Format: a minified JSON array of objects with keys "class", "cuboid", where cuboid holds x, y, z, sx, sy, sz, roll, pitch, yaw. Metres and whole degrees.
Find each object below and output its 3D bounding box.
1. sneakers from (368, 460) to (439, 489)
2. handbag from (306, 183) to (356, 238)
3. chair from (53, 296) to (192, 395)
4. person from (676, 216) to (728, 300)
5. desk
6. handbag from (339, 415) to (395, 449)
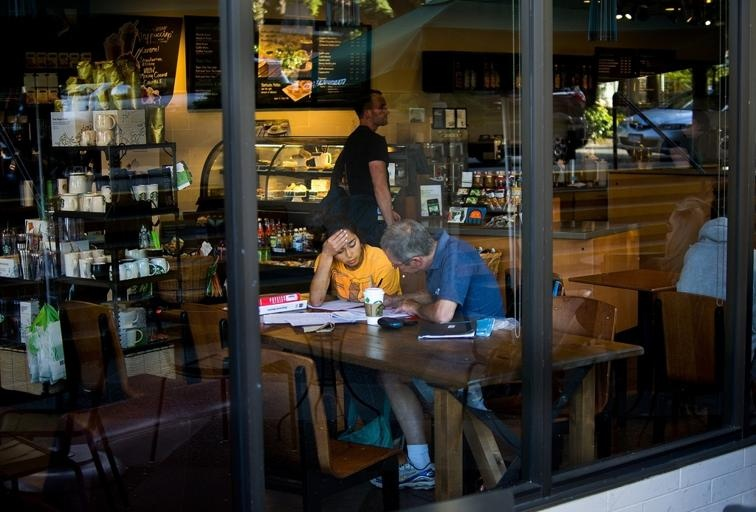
[{"class":"sneakers","cuboid":[0.118,1.019,3.038,0.337,0.145,0.120,2,-3,-11]},{"class":"handbag","cuboid":[-0.256,-0.265,3.722,0.276,0.264,0.091,2,-18,27]},{"class":"chair","cuboid":[-1.522,0.534,4.062,0.823,0.579,0.601,1,7,45]},{"class":"person","cuboid":[1.814,0.004,3.677,0.212,0.465,0.710,-4,5,11]},{"class":"desk","cuboid":[1.893,0.448,4.865,0.627,0.552,0.612,-2,2,-31]},{"class":"handbag","cuboid":[-0.048,0.822,3.061,0.193,0.060,0.144,-1,14,-13]}]
